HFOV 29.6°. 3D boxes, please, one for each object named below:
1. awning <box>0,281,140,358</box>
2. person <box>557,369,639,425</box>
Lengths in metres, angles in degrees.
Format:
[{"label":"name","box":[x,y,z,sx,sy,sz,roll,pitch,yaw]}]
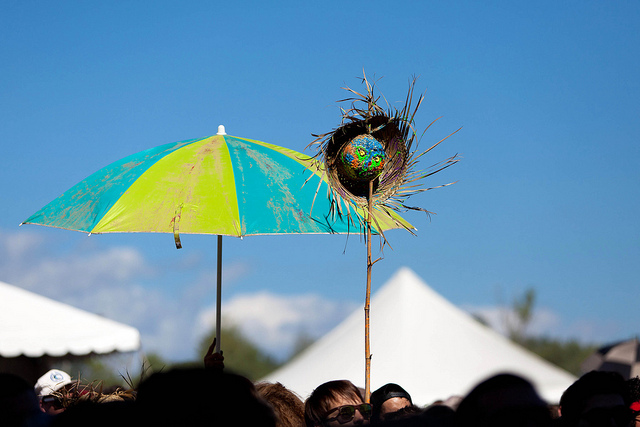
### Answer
[{"label":"awning","box":[-3.353,1.446,15.085,1.900,1.022,1.888,-3,-11,13]},{"label":"person","box":[2.488,1.643,10.801,0.754,0.599,0.351,3,-25,-3]}]
